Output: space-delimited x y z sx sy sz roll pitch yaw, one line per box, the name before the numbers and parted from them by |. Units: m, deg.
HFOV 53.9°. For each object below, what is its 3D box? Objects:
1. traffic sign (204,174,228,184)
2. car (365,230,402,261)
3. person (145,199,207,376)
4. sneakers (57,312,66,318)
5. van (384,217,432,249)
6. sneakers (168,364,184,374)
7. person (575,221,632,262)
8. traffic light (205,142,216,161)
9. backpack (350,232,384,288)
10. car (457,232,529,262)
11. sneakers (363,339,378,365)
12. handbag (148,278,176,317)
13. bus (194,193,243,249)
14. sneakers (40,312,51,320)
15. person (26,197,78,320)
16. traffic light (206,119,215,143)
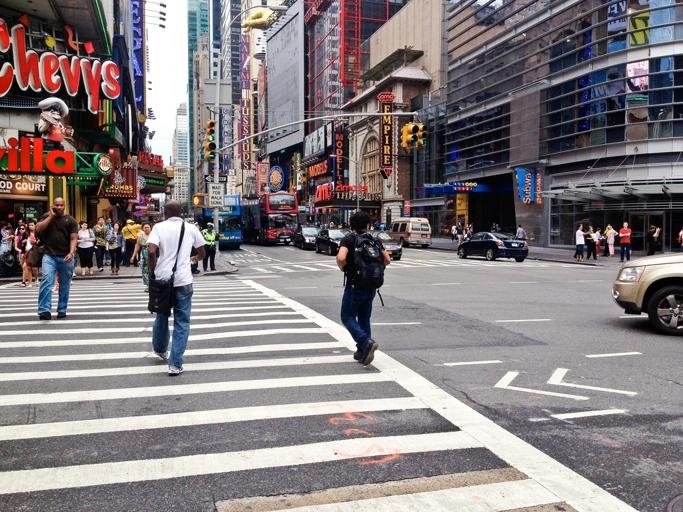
traffic sign | -5.670 -3.543 30.228 1.091 0.294 1.235 0 5 -8
car | 2.074 -0.553 32.491 1.121 0.988 2.766 0 2 -14
person | -2.233 0.374 9.149 0.713 2.281 0.996 -1 6 -14
sneakers | -5.277 1.118 12.726 0.076 0.071 0.186 -5 3 18
van | 4.795 -1.700 47.112 1.875 1.745 3.251 1 5 -14
sneakers | -2.176 1.482 8.863 0.204 0.135 0.216 -2 6 -24
person | 13.100 -0.699 33.662 2.078 1.588 0.591 -1 9 -3
traffic light | -4.798 -3.872 24.570 0.358 0.617 0.679 -1 6 -14
backpack | 0.362 0.068 9.331 0.461 0.760 0.397 3 -8 -35
car | 7.222 -0.463 32.269 1.396 1.097 3.158 1 6 -21
sneakers | 0.407 1.300 9.148 0.141 0.404 0.176 -9 32 -42
handbag | -2.373 0.531 8.867 0.376 0.523 0.233 1 5 2
bus | -10.045 -1.438 56.220 2.955 4.091 13.470 -3 -10 -15
sneakers | -5.436 1.092 12.352 0.190 0.187 0.280 -2 6 -25
person | -5.240 0.052 12.407 0.703 2.275 0.702 -3 7 -37
traffic light | -4.653 -4.500 23.868 0.271 0.757 0.781 -1 6 -15
